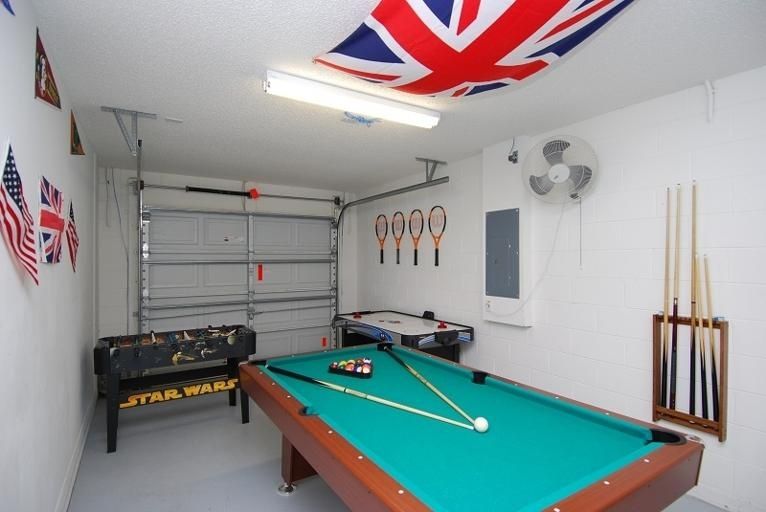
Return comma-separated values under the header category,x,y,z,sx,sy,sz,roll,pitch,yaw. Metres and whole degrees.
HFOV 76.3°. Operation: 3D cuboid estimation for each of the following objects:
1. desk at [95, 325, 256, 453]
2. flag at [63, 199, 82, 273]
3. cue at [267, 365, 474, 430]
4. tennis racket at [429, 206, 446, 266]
category,x,y,z,sx,sy,sz,roll,pitch,yaw
desk,-2.195,1.229,5.232,1.406,1.110,1.323,-7,14,-23
flag,-2.685,-0.153,4.208,0.082,0.606,0.628,-9,15,-31
cue,-0.084,1.053,3.586,1.243,0.069,0.146,18,-7,16
tennis racket,0.679,-0.262,6.181,0.128,0.757,0.353,-6,14,-20
